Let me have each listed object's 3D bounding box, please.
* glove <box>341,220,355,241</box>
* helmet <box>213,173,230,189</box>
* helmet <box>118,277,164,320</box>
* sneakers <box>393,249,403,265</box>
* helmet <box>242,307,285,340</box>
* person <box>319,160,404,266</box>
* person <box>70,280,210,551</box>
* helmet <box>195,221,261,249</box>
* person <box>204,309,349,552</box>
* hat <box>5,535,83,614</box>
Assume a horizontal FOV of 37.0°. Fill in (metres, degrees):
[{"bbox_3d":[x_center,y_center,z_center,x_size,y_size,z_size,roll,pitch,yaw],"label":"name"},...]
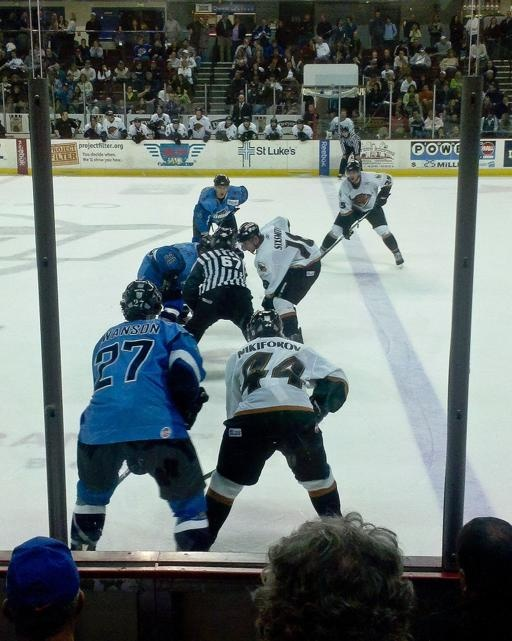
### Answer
[{"bbox_3d":[1.035,-0.995,8.580,0.114,0.161,0.118,10,-9,36],"label":"glove"},{"bbox_3d":[-0.339,-1.392,7.650,0.151,0.124,0.147,1,3,-4],"label":"helmet"},{"bbox_3d":[-0.428,-0.079,2.980,0.157,0.149,0.163,4,-7,-5],"label":"helmet"},{"bbox_3d":[1.627,-0.727,8.747,0.117,0.158,0.053,-10,-11,-21],"label":"sneakers"},{"bbox_3d":[0.035,0.009,3.299,0.140,0.128,0.147,0,-4,-4],"label":"helmet"},{"bbox_3d":[1.221,-1.194,8.602,0.863,1.186,0.626,-10,16,-31],"label":"person"},{"bbox_3d":[-0.439,0.436,2.803,0.520,0.842,0.456,-2,14,-4],"label":"person"},{"bbox_3d":[-0.154,-0.602,5.433,0.335,0.111,0.218,-10,10,-2],"label":"helmet"},{"bbox_3d":[0.084,0.434,2.918,0.515,0.666,0.551,0,13,6],"label":"person"},{"bbox_3d":[-0.432,0.513,1.562,0.109,0.069,0.138,-3,25,-12],"label":"hat"}]
